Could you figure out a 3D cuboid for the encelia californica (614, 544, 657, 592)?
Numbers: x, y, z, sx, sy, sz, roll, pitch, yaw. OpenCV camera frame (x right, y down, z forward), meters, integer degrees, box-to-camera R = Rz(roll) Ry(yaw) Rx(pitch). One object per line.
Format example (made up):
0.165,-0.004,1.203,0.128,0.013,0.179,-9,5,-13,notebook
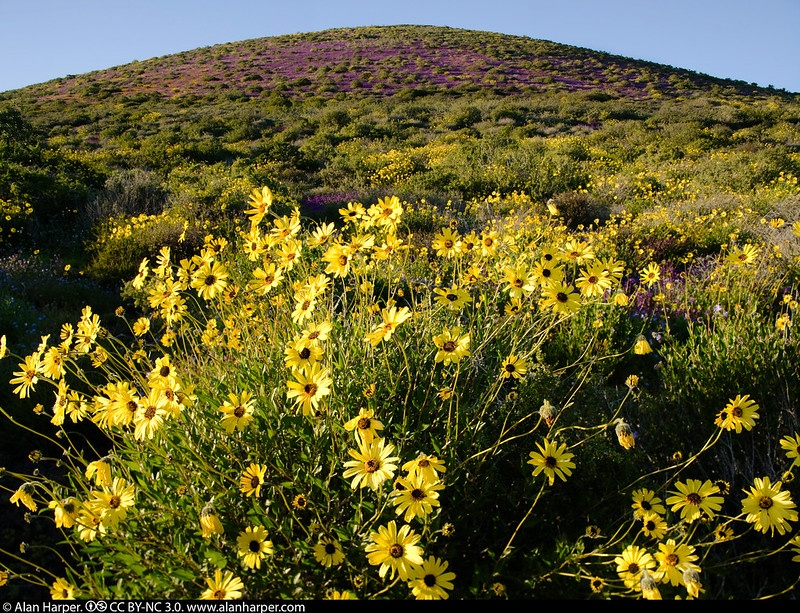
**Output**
1.320,1.482,3.468,0.223,0.065,0.234,-3,-12,44,encelia californica

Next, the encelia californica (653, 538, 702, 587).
1.518,1.416,3.410,0.256,0.072,0.282,-5,36,49,encelia californica

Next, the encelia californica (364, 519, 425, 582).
-0.033,1.337,3.323,0.293,0.086,0.350,-2,37,-23,encelia californica
